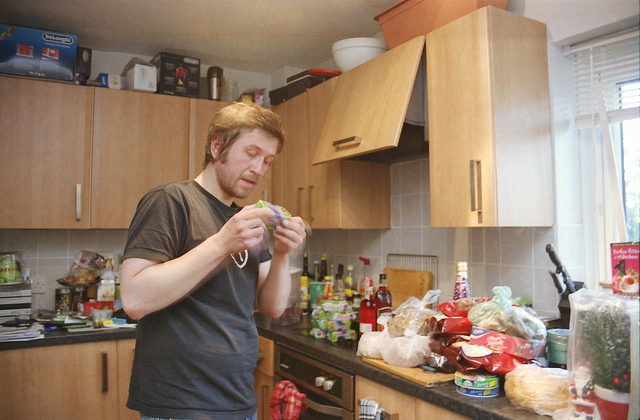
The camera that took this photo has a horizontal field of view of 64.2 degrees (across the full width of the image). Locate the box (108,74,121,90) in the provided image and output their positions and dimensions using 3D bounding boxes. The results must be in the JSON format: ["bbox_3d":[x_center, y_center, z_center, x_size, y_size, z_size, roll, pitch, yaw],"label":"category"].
[{"bbox_3d":[-1.493,-0.929,3.719,0.040,0.113,0.102,-1,-4,24],"label":"box"}]

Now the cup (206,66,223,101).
[{"bbox_3d":[-0.838,-0.995,4.029,0.118,0.270,0.073,1,-3,0],"label":"cup"}]

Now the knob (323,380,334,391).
[{"bbox_3d":[0.044,0.972,2.817,0.020,0.062,0.075,3,-4,-38],"label":"knob"}]

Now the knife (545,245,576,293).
[{"bbox_3d":[1.237,0.297,2.611,0.053,0.261,0.057,-12,-20,-28],"label":"knife"}]

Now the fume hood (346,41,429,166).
[{"bbox_3d":[0.413,-0.609,3.323,0.422,0.535,0.794,19,-2,-28],"label":"fume hood"}]

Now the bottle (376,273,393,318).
[{"bbox_3d":[0.373,0.499,2.975,0.094,0.237,0.151,1,-3,6],"label":"bottle"}]

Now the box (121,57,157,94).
[{"bbox_3d":[-1.315,-0.953,3.788,0.297,0.244,0.248,2,-3,-34],"label":"box"}]

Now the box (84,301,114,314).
[{"bbox_3d":[-1.612,0.695,3.704,0.126,0.074,0.124,0,-1,-36],"label":"box"}]

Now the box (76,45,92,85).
[{"bbox_3d":[-1.725,-1.030,3.717,0.089,0.298,0.216,2,-3,-19],"label":"box"}]

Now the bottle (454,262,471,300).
[{"bbox_3d":[0.786,0.392,2.836,0.076,0.199,0.336,0,-4,16],"label":"bottle"}]

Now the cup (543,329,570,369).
[{"bbox_3d":[1.110,0.670,2.407,0.110,0.180,0.233,-1,-4,24],"label":"cup"}]

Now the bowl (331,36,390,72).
[{"bbox_3d":[0.226,-0.979,3.433,0.351,0.166,0.346,-9,-12,-2],"label":"bowl"}]

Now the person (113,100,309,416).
[{"bbox_3d":[-0.458,0.217,2.242,0.775,1.400,0.452,2,-3,-21],"label":"person"}]

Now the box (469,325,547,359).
[{"bbox_3d":[0.875,0.626,2.404,0.211,0.067,0.183,16,-3,-13],"label":"box"}]

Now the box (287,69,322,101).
[{"bbox_3d":[-0.118,-0.926,3.788,0.190,0.184,0.283,4,-7,-32],"label":"box"}]

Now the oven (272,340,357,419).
[{"bbox_3d":[-0.041,0.978,2.927,0.375,0.403,0.583,7,-9,-32],"label":"oven"}]

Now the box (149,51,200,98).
[{"bbox_3d":[-1.164,-1.024,3.969,0.363,0.308,0.371,7,7,37],"label":"box"}]

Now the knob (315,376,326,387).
[{"bbox_3d":[-0.004,0.960,2.846,0.068,0.059,0.052,3,-6,-36],"label":"knob"}]

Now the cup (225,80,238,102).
[{"bbox_3d":[-0.724,-0.959,4.150,0.104,0.186,0.117,1,-3,-11],"label":"cup"}]
